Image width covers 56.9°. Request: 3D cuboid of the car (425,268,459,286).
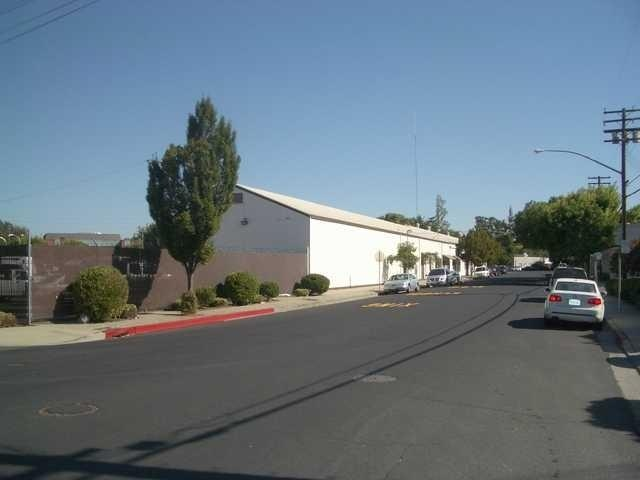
[{"bbox_3d":[10.320,3.165,49.581,1.156,1.129,3.362,-4,-8,25],"label":"car"}]
